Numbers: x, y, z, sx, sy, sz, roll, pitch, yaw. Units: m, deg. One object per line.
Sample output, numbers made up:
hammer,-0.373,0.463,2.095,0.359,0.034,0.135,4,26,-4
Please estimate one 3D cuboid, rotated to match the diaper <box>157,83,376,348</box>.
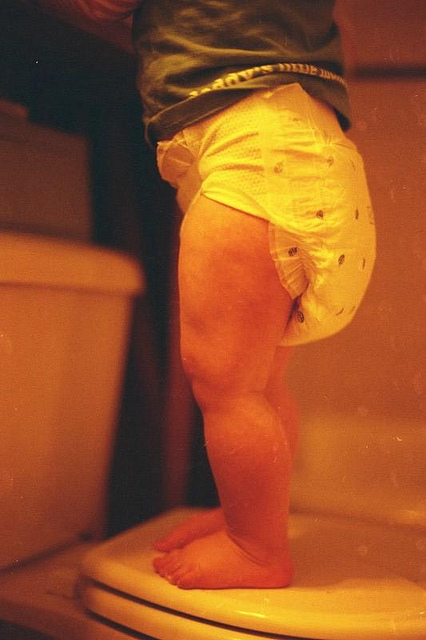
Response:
diaper,0.017,-0.108,0.692,0.282,0.220,0.198,0,15,-1
